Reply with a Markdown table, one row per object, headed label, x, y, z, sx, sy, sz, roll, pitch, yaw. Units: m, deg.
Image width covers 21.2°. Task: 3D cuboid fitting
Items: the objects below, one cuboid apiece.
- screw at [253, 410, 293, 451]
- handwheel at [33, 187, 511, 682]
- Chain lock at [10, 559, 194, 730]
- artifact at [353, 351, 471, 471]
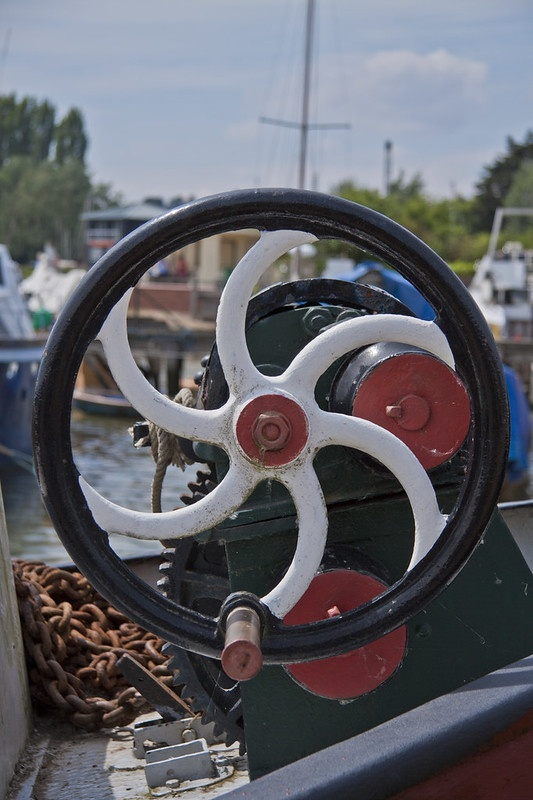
| label | x | y | z | sx | sy | sz | roll | pitch | yaw |
| --- | --- | --- | --- | --- | --- | --- | --- | --- | --- |
| screw | 0.009 | 0.050 | 2.180 | 0.055 | 0.062 | 0.018 | 1 | 12 | -3 |
| handwheel | 0.016 | 0.044 | 2.201 | 0.695 | 0.726 | 0.331 | -4 | 13 | -25 |
| Chain lock | -0.390 | 0.523 | 3.240 | 0.308 | 0.119 | 0.391 | 1 | 39 | -49 |
| artifact | 0.235 | 0.011 | 2.315 | 0.195 | 0.196 | 0.074 | -1 | 12 | -12 |
